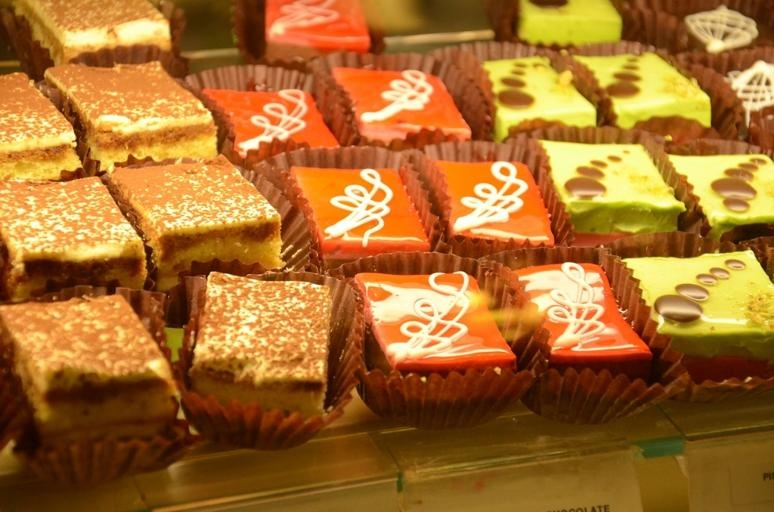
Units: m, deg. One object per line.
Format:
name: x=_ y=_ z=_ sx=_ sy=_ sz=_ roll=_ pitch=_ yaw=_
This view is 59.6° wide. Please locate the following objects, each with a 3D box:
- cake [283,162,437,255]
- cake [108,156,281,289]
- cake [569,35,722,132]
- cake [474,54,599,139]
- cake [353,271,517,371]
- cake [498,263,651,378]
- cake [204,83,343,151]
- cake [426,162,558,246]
cake: x=-0.090 y=-0.148 z=2.179 sx=0.380 sy=0.104 sz=0.339 roll=-3 pitch=51 yaw=-23
cake: x=-0.527 y=-0.117 z=2.102 sx=0.452 sy=0.186 sz=0.316 roll=-6 pitch=43 yaw=8
cake: x=0.988 y=-0.686 z=2.666 sx=0.433 sy=0.164 sz=0.384 roll=-9 pitch=48 yaw=-12
cake: x=0.548 y=-0.656 z=2.640 sx=0.410 sy=0.164 sz=0.365 roll=-8 pitch=45 yaw=-11
cake: x=0.107 y=0.163 z=1.840 sx=0.412 sy=0.095 sz=0.366 roll=12 pitch=43 yaw=-15
cake: x=0.531 y=0.172 z=1.927 sx=0.283 sy=0.122 sz=0.418 roll=-7 pitch=36 yaw=-2
cake: x=-0.433 y=-0.511 z=2.475 sx=0.373 sy=0.091 sz=0.331 roll=-6 pitch=48 yaw=-25
cake: x=0.336 y=-0.183 z=2.222 sx=0.364 sy=0.103 sz=0.381 roll=-3 pitch=40 yaw=-5
